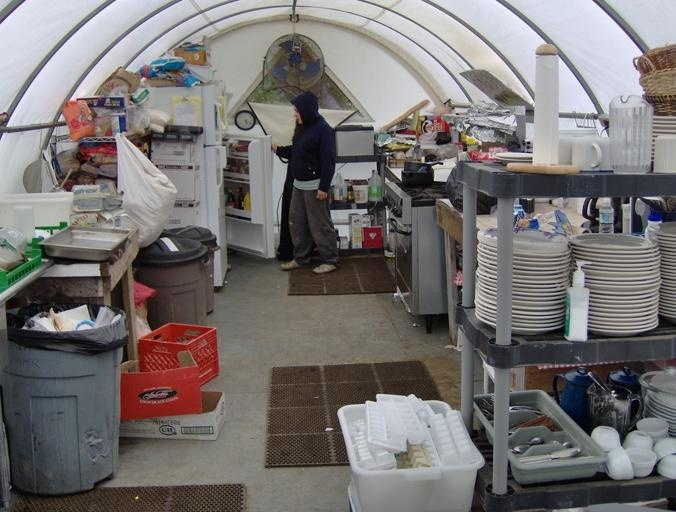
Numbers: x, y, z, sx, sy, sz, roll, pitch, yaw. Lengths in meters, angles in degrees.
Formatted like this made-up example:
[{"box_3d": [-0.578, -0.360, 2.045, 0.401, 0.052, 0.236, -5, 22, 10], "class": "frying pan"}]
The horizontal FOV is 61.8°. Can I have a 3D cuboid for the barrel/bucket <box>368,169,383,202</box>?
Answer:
[{"box_3d": [0.489, -0.910, 7.327, 0.212, 0.403, 0.168, -4, 7, -14], "class": "barrel/bucket"}]

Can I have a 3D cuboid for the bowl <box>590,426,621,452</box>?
[{"box_3d": [1.068, 0.718, 2.240, 0.088, 0.061, 0.089, -4, -2, 0], "class": "bowl"}]

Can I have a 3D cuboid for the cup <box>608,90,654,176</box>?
[{"box_3d": [1.040, -0.428, 1.983, 0.158, 0.278, 0.133, -2, 7, 11], "class": "cup"}]

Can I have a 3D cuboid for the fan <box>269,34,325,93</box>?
[{"box_3d": [-0.809, -3.421, 10.078, 1.073, 0.952, 0.513, -4, 7, -7], "class": "fan"}]

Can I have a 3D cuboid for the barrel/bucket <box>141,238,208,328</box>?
[{"box_3d": [-1.298, 0.198, 4.882, 0.667, 0.651, 0.645, 1, 10, 0], "class": "barrel/bucket"}]

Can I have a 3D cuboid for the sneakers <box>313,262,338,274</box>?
[{"box_3d": [-0.175, 0.144, 6.822, 0.226, 0.083, 0.119, -7, 9, -39], "class": "sneakers"}]

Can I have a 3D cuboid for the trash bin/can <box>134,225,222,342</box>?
[{"box_3d": [-1.273, 0.235, 4.880, 0.744, 0.695, 0.724, 3, 13, 9], "class": "trash bin/can"}]

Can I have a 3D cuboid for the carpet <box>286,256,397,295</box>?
[{"box_3d": [0.029, 0.222, 6.785, 1.251, 0.252, 1.506, -3, 7, -3], "class": "carpet"}]

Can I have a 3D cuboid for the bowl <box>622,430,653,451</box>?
[{"box_3d": [1.202, 0.738, 2.253, 0.072, 0.071, 0.072, -4, 5, 0], "class": "bowl"}]

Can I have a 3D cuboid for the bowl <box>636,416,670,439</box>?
[{"box_3d": [1.311, 0.706, 2.336, 0.087, 0.059, 0.093, -5, -1, 0], "class": "bowl"}]

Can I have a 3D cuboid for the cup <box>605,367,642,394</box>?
[{"box_3d": [1.280, 0.532, 2.517, 0.098, 0.130, 0.130, -10, 8, -34], "class": "cup"}]

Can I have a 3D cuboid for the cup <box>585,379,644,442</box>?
[{"box_3d": [1.188, 0.691, 2.407, 0.264, 0.265, 0.164, 2, -2, 2], "class": "cup"}]

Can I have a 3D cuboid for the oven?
[{"box_3d": [0.742, 0.087, 5.094, 0.342, 1.039, 0.627, -3, 7, -4], "class": "oven"}]

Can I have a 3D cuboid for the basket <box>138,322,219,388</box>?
[{"box_3d": [-1.131, 0.684, 3.999, 0.471, 0.292, 0.469, 1, 5, 22], "class": "basket"}]

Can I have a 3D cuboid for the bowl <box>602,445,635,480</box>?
[{"box_3d": [1.069, 0.784, 2.168, 0.074, 0.104, 0.097, -12, 3, -7], "class": "bowl"}]

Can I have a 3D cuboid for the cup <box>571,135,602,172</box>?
[{"box_3d": [0.904, -0.361, 2.013, 0.087, 0.121, 0.136, -9, 24, 3], "class": "cup"}]

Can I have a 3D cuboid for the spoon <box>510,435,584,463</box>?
[{"box_3d": [0.812, 0.762, 2.187, 0.181, 0.045, 0.105, -4, 8, -7], "class": "spoon"}]

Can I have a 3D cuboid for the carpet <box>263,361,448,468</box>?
[{"box_3d": [0.123, 1.010, 3.853, 1.211, 0.203, 1.305, -3, 7, -4], "class": "carpet"}]

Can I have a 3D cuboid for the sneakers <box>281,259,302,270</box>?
[{"box_3d": [-0.580, 0.100, 7.006, 0.256, 0.107, 0.104, -3, 14, -19], "class": "sneakers"}]

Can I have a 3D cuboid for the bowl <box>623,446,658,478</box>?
[{"box_3d": [1.174, 0.786, 2.177, 0.101, 0.071, 0.101, -1, 0, 0], "class": "bowl"}]

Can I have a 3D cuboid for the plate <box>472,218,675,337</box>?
[{"box_3d": [0.888, 0.094, 2.080, 0.485, 0.249, 0.478, 1, 7, 13], "class": "plate"}]
